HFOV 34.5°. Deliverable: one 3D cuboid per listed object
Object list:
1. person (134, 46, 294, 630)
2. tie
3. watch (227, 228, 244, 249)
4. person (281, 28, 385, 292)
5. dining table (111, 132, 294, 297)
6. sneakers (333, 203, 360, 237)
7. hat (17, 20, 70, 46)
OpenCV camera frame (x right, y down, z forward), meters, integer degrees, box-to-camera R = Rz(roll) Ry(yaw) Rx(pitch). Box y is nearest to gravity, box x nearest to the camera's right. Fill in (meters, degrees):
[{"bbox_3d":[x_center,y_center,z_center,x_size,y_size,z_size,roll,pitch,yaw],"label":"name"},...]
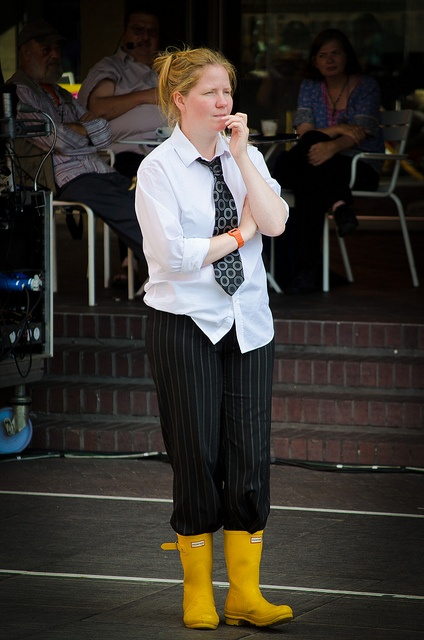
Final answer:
[{"bbox_3d":[0.011,0.045,1.748,0.388,1.504,0.285,-1,3,-6],"label":"person"},{"bbox_3d":[0.040,-0.233,1.694,0.094,0.345,0.105,2,4,44],"label":"tie"},{"bbox_3d":[0.063,-0.201,1.659,0.033,0.047,0.049,-23,31,-10],"label":"watch"},{"bbox_3d":[0.915,-1.245,5.271,0.781,2.057,0.935,0,3,13],"label":"person"},{"bbox_3d":[-0.099,-0.799,5.482,1.509,1.260,1.427,-2,15,3],"label":"dining table"},{"bbox_3d":[0.963,-0.724,4.948,0.126,0.122,0.269,-31,28,8],"label":"sneakers"},{"bbox_3d":[-1.219,-2.069,4.951,0.280,0.137,0.206,-13,-5,29],"label":"hat"}]
